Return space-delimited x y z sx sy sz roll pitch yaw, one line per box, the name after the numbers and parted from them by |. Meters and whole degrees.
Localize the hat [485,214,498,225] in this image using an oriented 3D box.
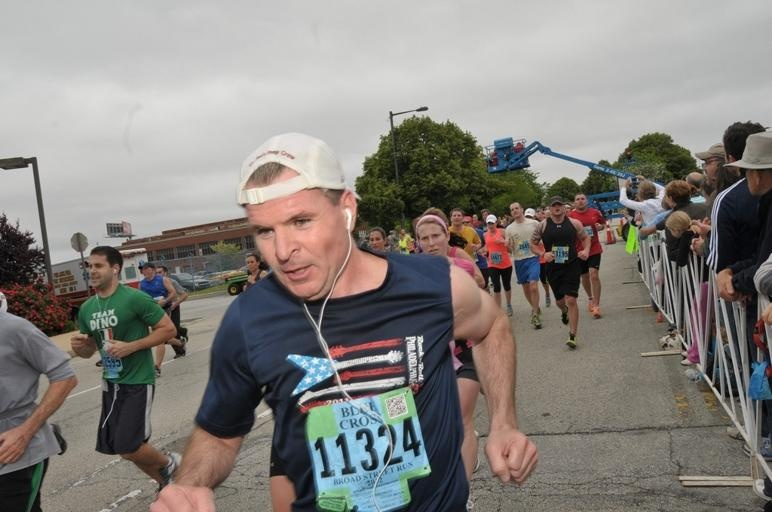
2.188 -0.780 11.280 0.178 0.166 0.288 -6 -2 17 | hat

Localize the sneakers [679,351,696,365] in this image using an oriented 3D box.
3.775 1.311 6.735 0.088 0.127 0.279 3 2 7 | sneakers

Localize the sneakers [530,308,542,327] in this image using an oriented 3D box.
2.865 1.206 10.169 0.160 0.247 0.506 -2 -3 4 | sneakers

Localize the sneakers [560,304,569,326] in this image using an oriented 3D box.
3.092 1.049 9.309 0.136 0.461 0.185 -2 5 22 | sneakers

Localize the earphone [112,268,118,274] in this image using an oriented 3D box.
-2.874 0.160 5.733 0.043 0.053 0.038 -21 -3 25 | earphone

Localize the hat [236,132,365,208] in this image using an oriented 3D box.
-0.402 -0.423 2.780 0.478 0.394 0.727 -4 12 14 | hat

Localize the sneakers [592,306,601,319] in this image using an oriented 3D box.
3.967 1.084 10.122 0.104 0.149 0.321 -6 -14 12 | sneakers

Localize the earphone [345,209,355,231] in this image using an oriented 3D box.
-0.178 -0.180 2.669 0.025 0.102 0.066 -3 -3 -27 | earphone

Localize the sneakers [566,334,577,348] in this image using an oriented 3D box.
2.821 1.322 8.209 0.101 0.123 0.256 0 2 7 | sneakers

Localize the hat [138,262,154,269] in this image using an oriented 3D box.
-5.191 0.203 11.727 0.393 0.217 0.583 -1 0 -22 | hat
